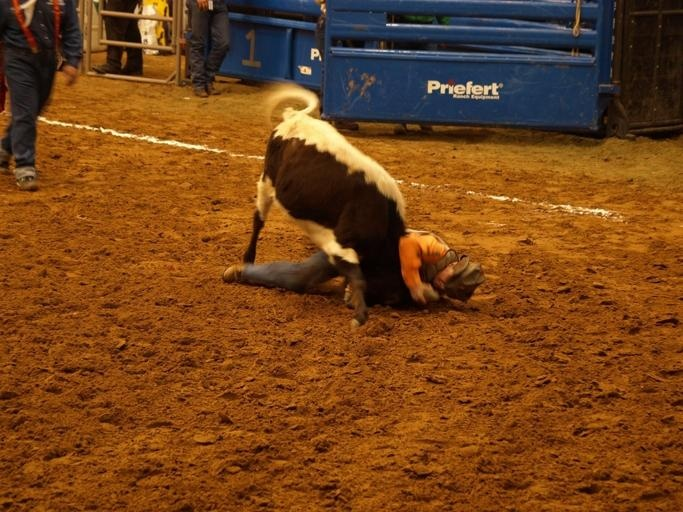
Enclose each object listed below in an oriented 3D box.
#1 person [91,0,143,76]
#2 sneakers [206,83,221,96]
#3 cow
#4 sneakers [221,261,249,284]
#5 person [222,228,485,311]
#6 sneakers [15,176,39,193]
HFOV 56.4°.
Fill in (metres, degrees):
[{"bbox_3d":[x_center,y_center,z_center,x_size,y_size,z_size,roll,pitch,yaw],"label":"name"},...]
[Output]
[{"bbox_3d":[-4.409,-4.426,12.801,0.785,1.559,1.104,6,13,1],"label":"person"},{"bbox_3d":[-2.474,-3.178,12.227,0.176,0.171,0.472,-5,8,-28],"label":"sneakers"},{"bbox_3d":[0.039,-0.345,4.526,0.691,1.283,2.376,-17,41,-27],"label":"cow"},{"bbox_3d":[-0.808,0.127,4.821,0.238,0.091,0.097,-15,12,39],"label":"sneakers"},{"bbox_3d":[-0.087,0.057,4.611,1.854,0.603,0.370,3,16,34],"label":"person"},{"bbox_3d":[-3.134,-0.739,6.380,0.226,0.159,0.142,3,13,-6],"label":"sneakers"}]
